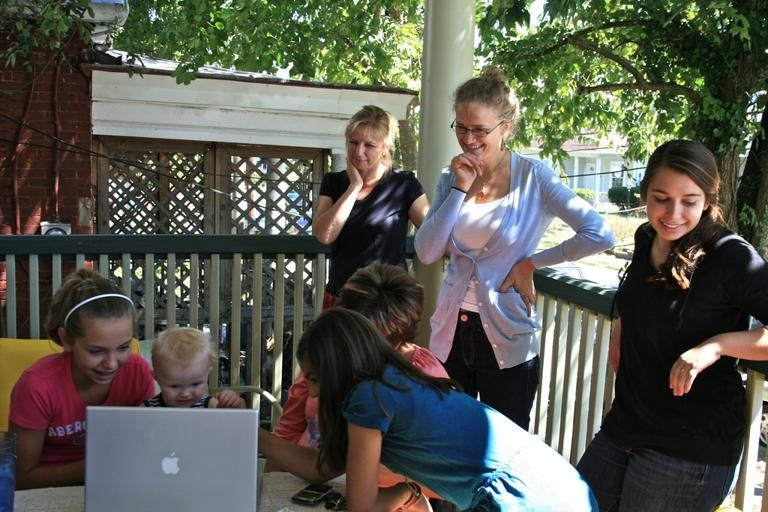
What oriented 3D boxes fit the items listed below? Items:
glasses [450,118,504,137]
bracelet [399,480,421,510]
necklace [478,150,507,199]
[{"bbox_3d":[0.459,-0.618,3.353,0.234,0.092,0.056,5,4,13],"label":"glasses"},{"bbox_3d":[0.106,0.978,2.827,0.067,0.090,0.059,-6,-16,40],"label":"bracelet"},{"bbox_3d":[0.537,-0.384,3.412,0.166,0.235,0.068,2,-5,35],"label":"necklace"}]
